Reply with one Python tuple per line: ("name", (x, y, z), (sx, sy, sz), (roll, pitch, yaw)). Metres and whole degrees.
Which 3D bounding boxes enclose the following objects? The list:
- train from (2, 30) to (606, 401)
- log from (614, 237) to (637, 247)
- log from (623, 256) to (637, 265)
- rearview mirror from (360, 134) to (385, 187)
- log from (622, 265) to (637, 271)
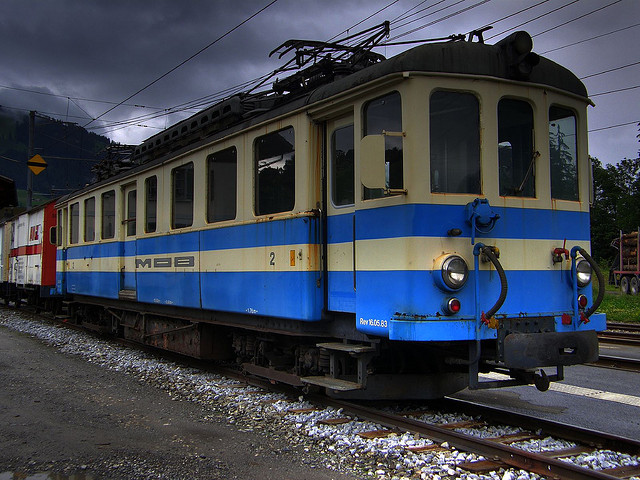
("train", (-1.998, -0.105, 11.652), (4.162, 4.860, 14.310), (3, -5, -32))
("log", (16.757, 0.122, 29.970), (0.255, 0.550, 1.331), (-1, 0, 9))
("log", (16.481, 1.084, 29.427), (0.209, 0.477, 1.201), (-1, 0, 3))
("rearview mirror", (0.589, -0.893, 6.331), (0.296, 0.634, 0.047), (-3, -11, 15))
("log", (16.434, 1.476, 29.438), (0.228, 0.335, 1.090), (-1, 0, -1))
